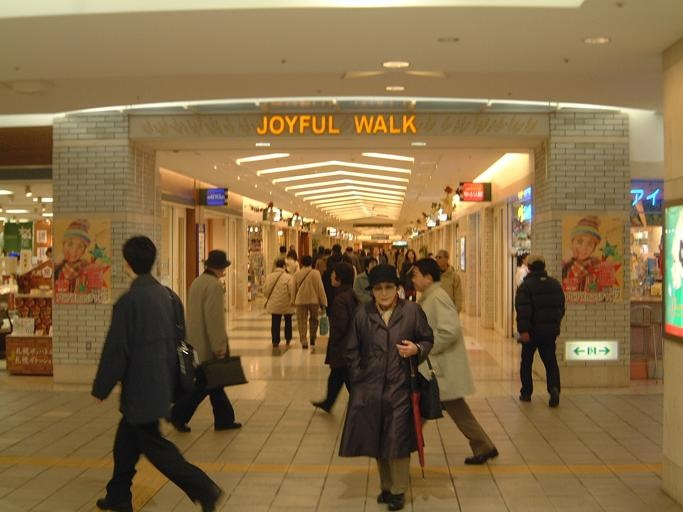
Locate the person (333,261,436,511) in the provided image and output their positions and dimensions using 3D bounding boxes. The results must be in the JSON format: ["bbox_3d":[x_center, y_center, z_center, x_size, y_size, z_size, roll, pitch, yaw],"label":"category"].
[{"bbox_3d":[0.386,0.911,4.906,0.821,1.986,0.349,-1,0,4],"label":"person"}]

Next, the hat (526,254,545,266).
[{"bbox_3d":[2.698,0.052,7.815,0.145,0.101,0.153,1,-8,1],"label":"hat"}]

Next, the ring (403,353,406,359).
[{"bbox_3d":[0.547,0.874,4.825,0.023,0.029,0.032,0,-21,11],"label":"ring"}]

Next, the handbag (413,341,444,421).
[{"bbox_3d":[0.754,1.175,4.887,0.229,0.559,0.240,-1,0,9],"label":"handbag"}]

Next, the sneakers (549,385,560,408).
[{"bbox_3d":[2.872,1.912,7.560,0.105,0.315,0.130,-2,20,3],"label":"sneakers"}]

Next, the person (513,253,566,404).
[{"bbox_3d":[2.735,1.026,7.664,0.636,2.140,0.453,-1,0,18],"label":"person"}]

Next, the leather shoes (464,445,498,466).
[{"bbox_3d":[1.443,2.093,5.753,0.354,0.174,0.155,-7,4,-9],"label":"leather shoes"}]

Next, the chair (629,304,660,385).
[{"bbox_3d":[4.956,1.364,9.066,0.523,1.412,0.481,-1,0,18],"label":"chair"}]
